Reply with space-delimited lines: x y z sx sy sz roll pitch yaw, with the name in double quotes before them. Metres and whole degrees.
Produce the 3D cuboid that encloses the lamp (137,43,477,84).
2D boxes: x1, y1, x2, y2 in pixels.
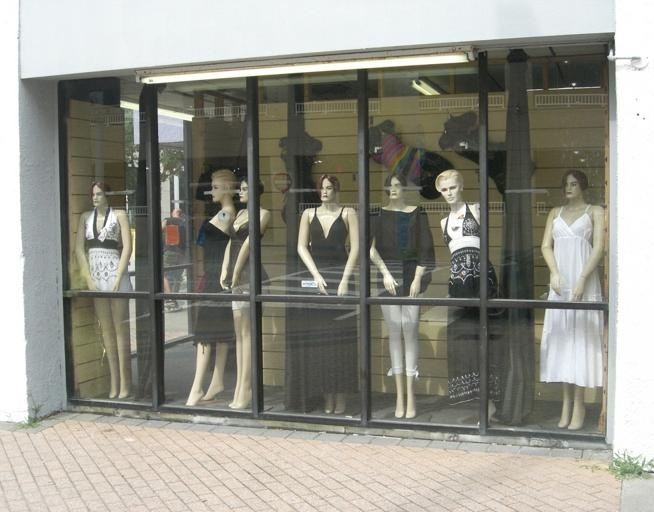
"lamp" -0.116 -1.734 7.152 3.243 0.331 0.162 -8 5 -18
